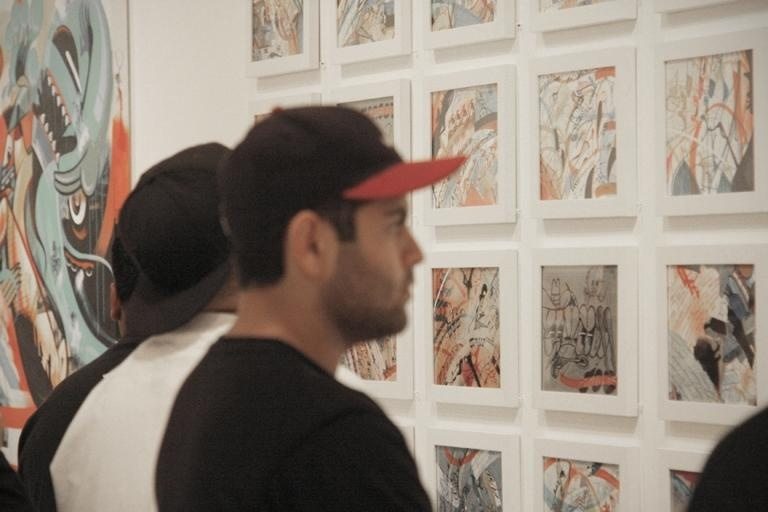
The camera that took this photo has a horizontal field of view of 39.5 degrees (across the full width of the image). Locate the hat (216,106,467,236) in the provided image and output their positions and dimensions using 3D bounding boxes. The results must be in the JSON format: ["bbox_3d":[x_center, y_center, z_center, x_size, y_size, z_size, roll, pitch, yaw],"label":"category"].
[{"bbox_3d":[-0.214,-0.265,3.343,0.548,0.347,0.397,-11,4,-1],"label":"hat"}]
